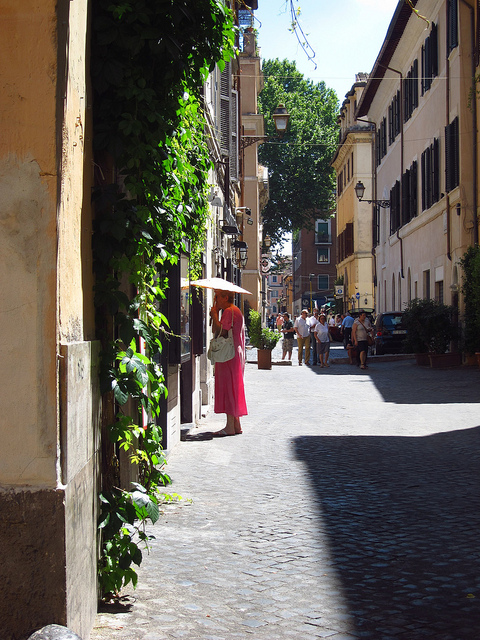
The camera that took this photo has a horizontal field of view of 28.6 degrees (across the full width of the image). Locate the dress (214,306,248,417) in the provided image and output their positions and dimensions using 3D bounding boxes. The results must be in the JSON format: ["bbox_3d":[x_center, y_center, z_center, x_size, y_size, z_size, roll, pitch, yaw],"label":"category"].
[{"bbox_3d":[-0.121,0.469,10.666,0.362,1.146,0.634,-1,0,-2],"label":"dress"}]

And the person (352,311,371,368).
[{"bbox_3d":[3.070,0.467,23.225,0.439,1.430,0.436,-10,9,-31],"label":"person"}]

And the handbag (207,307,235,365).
[{"bbox_3d":[-0.222,0.175,10.627,0.280,0.697,0.172,-2,-19,21],"label":"handbag"}]

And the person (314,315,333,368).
[{"bbox_3d":[2.228,0.553,25.546,0.412,1.337,1.265,-1,0,5],"label":"person"}]

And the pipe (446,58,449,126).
[{"bbox_3d":[5.389,-5.874,24.333,0.060,1.714,0.362,-1,0,12],"label":"pipe"}]

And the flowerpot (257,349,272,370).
[{"bbox_3d":[0.654,1.053,25.278,0.389,0.701,0.432,-1,-5,-1],"label":"flowerpot"}]

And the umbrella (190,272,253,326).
[{"bbox_3d":[-0.264,-0.237,10.439,0.370,0.330,0.428,12,-2,-24],"label":"umbrella"}]

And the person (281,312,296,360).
[{"bbox_3d":[1.438,0.491,28.187,0.342,1.325,1.214,-1,0,3],"label":"person"}]
